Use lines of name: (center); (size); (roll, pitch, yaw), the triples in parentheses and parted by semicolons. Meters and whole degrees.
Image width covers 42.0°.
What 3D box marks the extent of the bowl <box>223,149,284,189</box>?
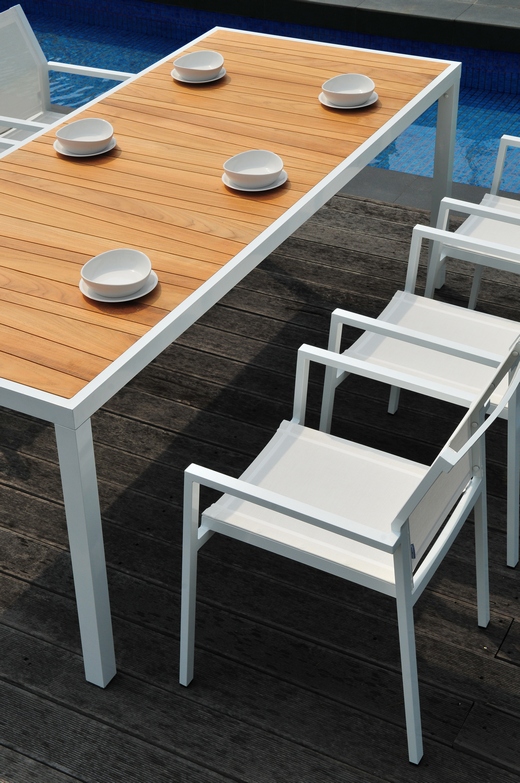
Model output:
bowl: (-0.017, -0.584, 1.844); (0.140, 0.050, 0.138); (-5, 42, 5)

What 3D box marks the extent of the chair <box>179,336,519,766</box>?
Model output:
chair: (0.180, 0.248, 1.316); (0.530, 0.795, 0.546); (18, 38, 26)

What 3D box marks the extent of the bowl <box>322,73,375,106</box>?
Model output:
bowl: (0.296, -1.024, 2.300); (0.162, 0.063, 0.162); (-1, 46, 1)
